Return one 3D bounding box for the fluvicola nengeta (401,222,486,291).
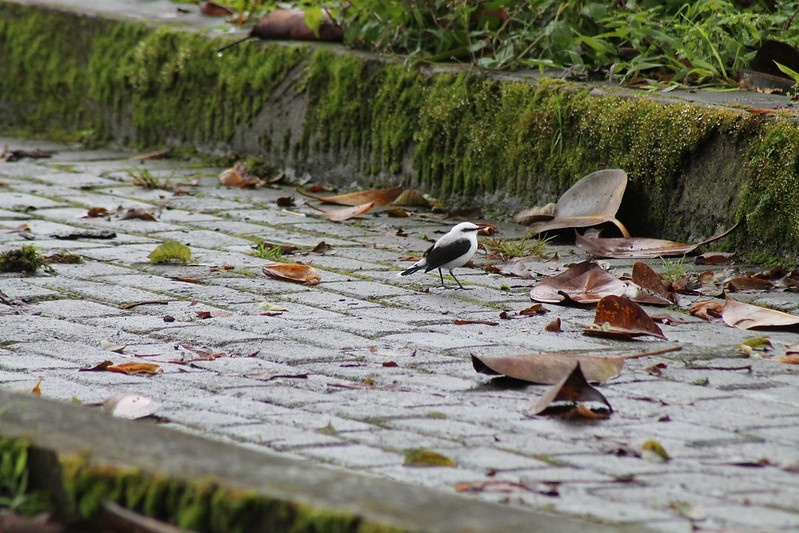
[{"bbox_3d":[0.251,-0.075,6.795,0.608,0.334,0.233,-5,1,-24],"label":"fluvicola nengeta"}]
